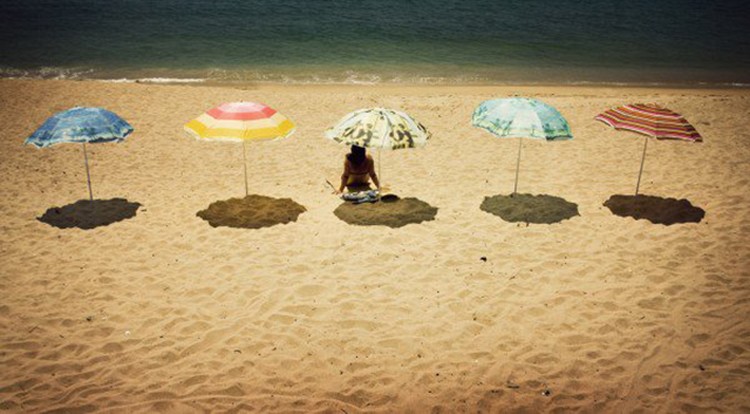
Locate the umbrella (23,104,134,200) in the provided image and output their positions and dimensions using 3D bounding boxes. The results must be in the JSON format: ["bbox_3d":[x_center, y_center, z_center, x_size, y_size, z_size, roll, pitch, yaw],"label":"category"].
[{"bbox_3d":[-11.052,-2.672,26.017,2.906,2.255,2.159,-8,31,-8],"label":"umbrella"}]

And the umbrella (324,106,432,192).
[{"bbox_3d":[0.142,-2.024,24.442,3.087,2.476,3.110,-12,-19,38],"label":"umbrella"}]

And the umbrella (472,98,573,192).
[{"bbox_3d":[5.523,-2.981,26.002,2.640,2.123,2.437,21,33,24],"label":"umbrella"}]
